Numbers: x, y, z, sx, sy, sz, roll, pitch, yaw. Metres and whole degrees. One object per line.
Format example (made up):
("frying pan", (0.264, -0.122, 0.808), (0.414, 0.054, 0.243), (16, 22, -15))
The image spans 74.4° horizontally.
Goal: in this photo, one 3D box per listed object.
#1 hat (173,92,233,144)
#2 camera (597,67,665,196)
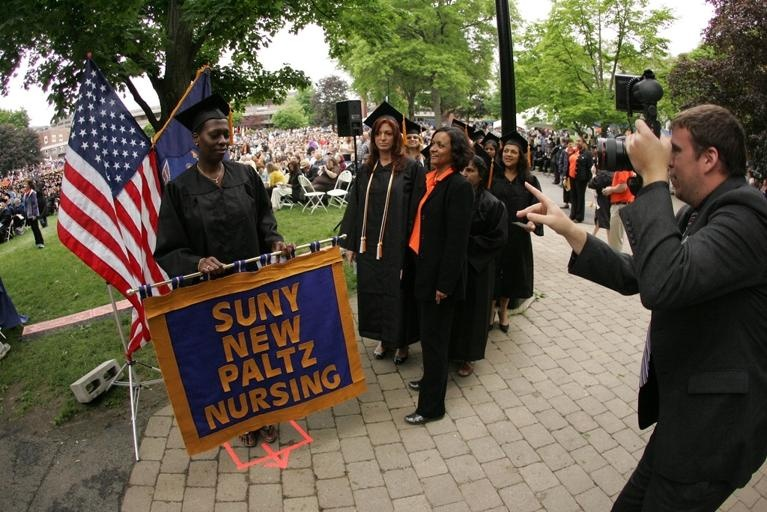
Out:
("hat", (-1.781, -1.390, 5.057), (0.516, 0.504, 0.146), (-32, 61, -1))
("camera", (1.695, -0.883, 3.502), (0.413, 0.712, 0.268), (1, 9, 20))
